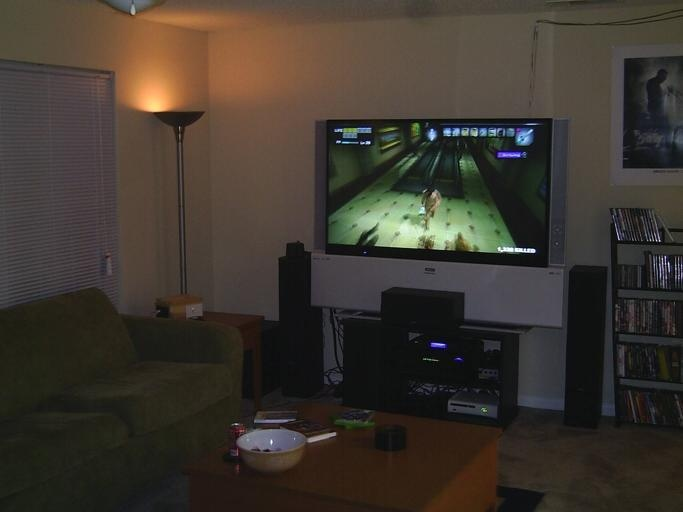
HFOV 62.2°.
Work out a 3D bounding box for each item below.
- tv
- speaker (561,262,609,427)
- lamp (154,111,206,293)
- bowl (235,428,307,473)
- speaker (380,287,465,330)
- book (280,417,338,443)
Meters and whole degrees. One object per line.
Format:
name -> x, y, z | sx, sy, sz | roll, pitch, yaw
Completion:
tv -> 0.822, -0.254, 4.285 | 1.527, 1.276, 0.216 | 3, 4, 18
speaker -> 1.765, 0.647, 4.130 | 0.252, 1.165, 0.216 | 2, 7, 21
lamp -> -1.384, -0.444, 4.846 | 0.385, 1.542, 0.625 | -1, 3, -19
bowl -> -0.295, 0.826, 2.439 | 0.170, 0.077, 0.179 | 1, 10, 0
speaker -> 0.644, 0.425, 4.278 | 0.636, 0.309, 0.341 | 5, 5, 13
book -> -0.153, 0.837, 2.740 | 0.143, 0.032, 0.134 | -1, 7, -38
